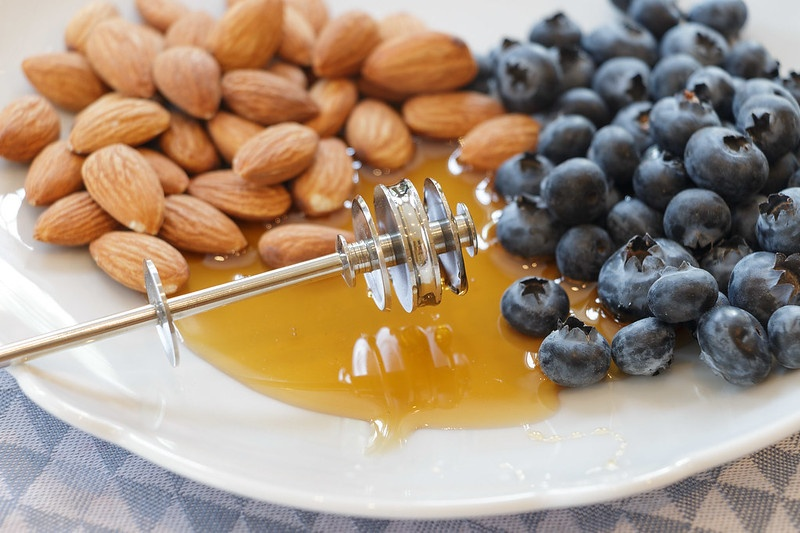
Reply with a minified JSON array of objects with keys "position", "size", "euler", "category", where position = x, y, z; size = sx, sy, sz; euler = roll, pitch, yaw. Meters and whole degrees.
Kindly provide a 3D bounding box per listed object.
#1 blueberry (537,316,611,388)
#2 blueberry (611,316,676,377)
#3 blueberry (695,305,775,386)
[{"position":[0.262,0.132,1.270],"size":[0.103,0.104,0.103],"euler":[-13,22,-10],"category":"blueberry"},{"position":[0.369,0.113,1.270],"size":[0.084,0.089,0.072],"euler":[-8,46,-32],"category":"blueberry"},{"position":[0.473,0.116,1.204],"size":[0.056,0.096,0.110],"euler":[-36,61,13],"category":"blueberry"}]
